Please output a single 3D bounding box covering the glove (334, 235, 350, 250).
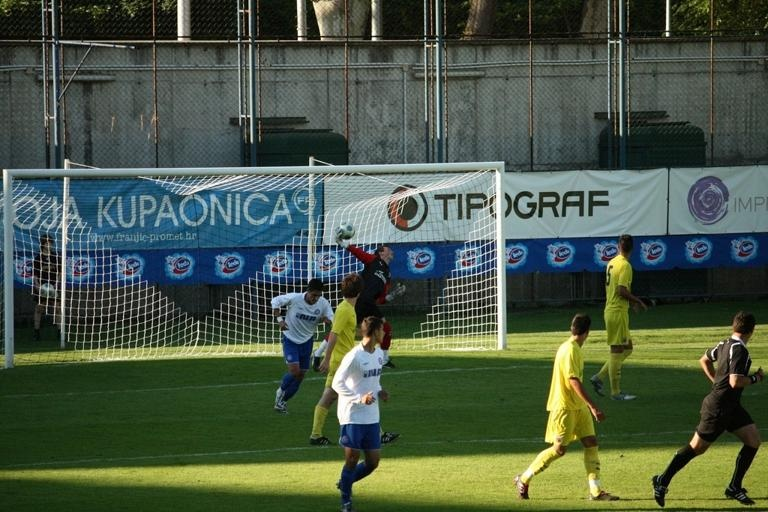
[{"bbox_3d":[-0.973,-0.303,38.222,0.366,0.327,0.286,-11,-9,27],"label":"glove"}]

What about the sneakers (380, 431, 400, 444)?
[{"bbox_3d":[0.176,3.966,34.226,0.463,0.195,0.163,-15,16,19],"label":"sneakers"}]

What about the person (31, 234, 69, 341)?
[{"bbox_3d":[-8.857,0.848,41.814,0.783,2.811,1.469,-3,5,-12],"label":"person"}]

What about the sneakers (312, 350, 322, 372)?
[{"bbox_3d":[-1.551,2.565,37.255,0.232,0.660,0.287,5,-7,-19],"label":"sneakers"}]

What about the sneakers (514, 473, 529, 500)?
[{"bbox_3d":[2.822,4.814,32.483,0.212,0.560,0.270,8,-20,-20],"label":"sneakers"}]

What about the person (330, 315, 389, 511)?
[{"bbox_3d":[-0.519,3.263,32.549,1.127,3.906,0.925,-3,5,-19],"label":"person"}]

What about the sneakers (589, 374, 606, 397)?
[{"bbox_3d":[4.909,3.119,36.537,0.294,0.612,0.205,-22,35,7],"label":"sneakers"}]

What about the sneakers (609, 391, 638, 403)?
[{"bbox_3d":[5.448,3.294,36.311,0.584,0.227,0.203,-2,-4,4],"label":"sneakers"}]

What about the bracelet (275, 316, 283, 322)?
[{"bbox_3d":[-2.350,1.459,35.662,0.145,0.140,0.132,3,-2,1],"label":"bracelet"}]

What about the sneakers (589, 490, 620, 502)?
[{"bbox_3d":[4.492,4.984,32.476,0.592,0.238,0.215,-3,-2,4],"label":"sneakers"}]

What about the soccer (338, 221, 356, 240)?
[{"bbox_3d":[-0.959,-0.567,38.549,0.333,0.411,0.411,14,-34,0],"label":"soccer"}]

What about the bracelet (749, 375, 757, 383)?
[{"bbox_3d":[7.501,2.556,32.319,0.034,0.137,0.143,17,40,-7],"label":"bracelet"}]
